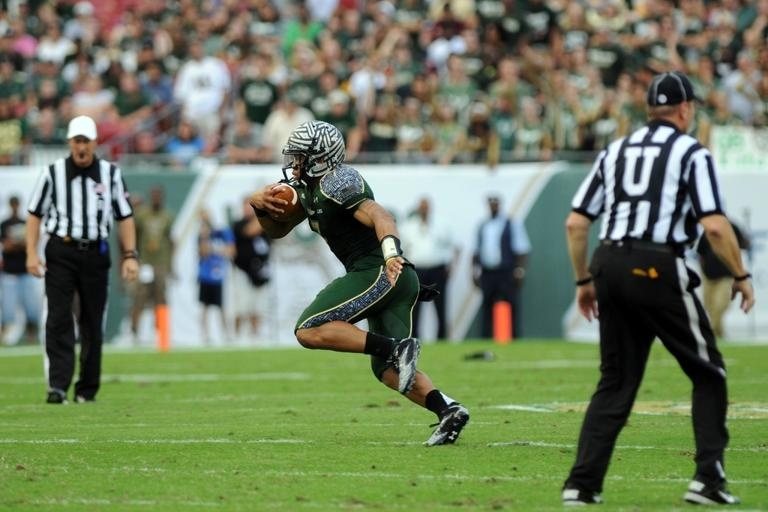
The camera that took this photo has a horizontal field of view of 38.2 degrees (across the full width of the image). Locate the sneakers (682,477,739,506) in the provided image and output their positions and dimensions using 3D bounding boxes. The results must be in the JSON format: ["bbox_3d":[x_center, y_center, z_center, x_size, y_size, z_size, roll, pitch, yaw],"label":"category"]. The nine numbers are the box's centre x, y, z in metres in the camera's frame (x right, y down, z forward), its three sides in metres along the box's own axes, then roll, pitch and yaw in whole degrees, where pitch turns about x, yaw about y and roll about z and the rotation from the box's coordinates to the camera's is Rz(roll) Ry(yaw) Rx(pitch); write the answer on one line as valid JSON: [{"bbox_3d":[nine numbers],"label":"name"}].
[{"bbox_3d":[2.214,1.744,8.077,0.440,0.184,0.147,3,-6,-8],"label":"sneakers"}]

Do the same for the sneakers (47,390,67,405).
[{"bbox_3d":[-3.253,1.441,11.205,0.169,0.111,0.129,2,-1,-2],"label":"sneakers"}]

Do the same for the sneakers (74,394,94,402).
[{"bbox_3d":[-2.992,1.459,11.255,0.188,0.083,0.069,2,2,-2],"label":"sneakers"}]

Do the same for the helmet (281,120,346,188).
[{"bbox_3d":[-0.574,-0.894,9.557,0.603,0.505,0.447,-4,10,6],"label":"helmet"}]

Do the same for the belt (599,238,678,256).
[{"bbox_3d":[1.777,-0.055,8.113,0.553,0.115,0.104,0,3,18],"label":"belt"}]

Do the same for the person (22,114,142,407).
[{"bbox_3d":[-3.003,0.049,11.231,1.079,2.753,0.899,-1,11,-21],"label":"person"}]

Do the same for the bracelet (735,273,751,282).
[{"bbox_3d":[2.504,0.177,8.133,0.080,0.022,0.073,-11,1,-1],"label":"bracelet"}]

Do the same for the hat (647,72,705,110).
[{"bbox_3d":[2.080,-1.287,8.471,0.518,0.279,0.360,-8,14,-44],"label":"hat"}]

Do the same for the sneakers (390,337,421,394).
[{"bbox_3d":[0.119,0.910,9.135,0.223,0.479,0.170,-2,-5,5],"label":"sneakers"}]

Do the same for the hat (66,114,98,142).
[{"bbox_3d":[-3.002,-1.280,11.248,0.237,0.190,0.329,1,1,-9],"label":"hat"}]

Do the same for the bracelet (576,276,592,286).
[{"bbox_3d":[1.425,0.202,8.439,0.079,0.022,0.079,-21,0,-13],"label":"bracelet"}]

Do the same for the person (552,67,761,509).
[{"bbox_3d":[1.851,0.411,8.096,1.207,2.775,0.603,0,2,13],"label":"person"}]

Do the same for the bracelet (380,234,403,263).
[{"bbox_3d":[0.013,-0.061,8.899,0.160,0.190,0.094,-14,1,2],"label":"bracelet"}]

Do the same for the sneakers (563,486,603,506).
[{"bbox_3d":[1.330,1.738,8.023,0.301,0.126,0.108,3,7,-33],"label":"sneakers"}]
